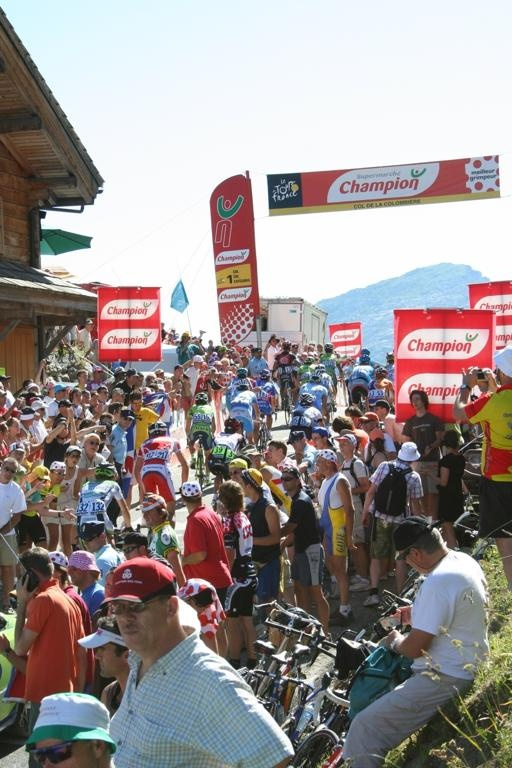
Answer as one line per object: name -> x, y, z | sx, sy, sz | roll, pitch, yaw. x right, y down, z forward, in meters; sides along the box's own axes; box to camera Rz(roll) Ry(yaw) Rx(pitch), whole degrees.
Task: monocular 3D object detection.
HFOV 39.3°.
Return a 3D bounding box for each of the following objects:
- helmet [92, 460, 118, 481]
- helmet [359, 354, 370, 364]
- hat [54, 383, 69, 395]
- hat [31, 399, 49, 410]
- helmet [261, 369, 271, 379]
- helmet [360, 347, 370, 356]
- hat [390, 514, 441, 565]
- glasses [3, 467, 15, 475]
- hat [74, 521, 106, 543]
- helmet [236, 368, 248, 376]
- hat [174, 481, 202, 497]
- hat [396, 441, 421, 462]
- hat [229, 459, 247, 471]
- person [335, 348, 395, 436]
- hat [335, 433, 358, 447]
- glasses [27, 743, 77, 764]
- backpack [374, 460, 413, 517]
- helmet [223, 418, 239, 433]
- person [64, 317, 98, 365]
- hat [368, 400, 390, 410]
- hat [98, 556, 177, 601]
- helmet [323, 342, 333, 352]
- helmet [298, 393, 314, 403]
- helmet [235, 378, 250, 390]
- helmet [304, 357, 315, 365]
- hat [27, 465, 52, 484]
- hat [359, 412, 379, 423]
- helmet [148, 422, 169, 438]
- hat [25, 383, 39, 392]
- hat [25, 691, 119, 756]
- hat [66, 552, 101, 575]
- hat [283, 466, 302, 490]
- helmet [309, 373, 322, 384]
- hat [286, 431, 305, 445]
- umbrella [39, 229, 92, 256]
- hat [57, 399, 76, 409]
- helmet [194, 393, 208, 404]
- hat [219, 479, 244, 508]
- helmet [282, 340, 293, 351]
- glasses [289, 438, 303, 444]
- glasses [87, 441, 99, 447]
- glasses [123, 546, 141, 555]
helmet -> -1.831, 1.078, 8.806 | 0.227, 0.228, 0.253 | 3, -29, -9
helmet -> 2.865, -0.663, 19.007 | 0.267, 0.235, 0.267 | -5, -9, 43
hat -> -3.636, 0.092, 13.392 | 0.240, 0.130, 0.154 | -26, 17, -27
hat -> -3.622, 0.346, 12.060 | 0.231, 0.112, 0.156 | -6, 8, -20
helmet -> 0.240, -0.232, 17.580 | 0.184, 0.216, 0.218 | -2, -23, 0
helmet -> 2.906, -0.883, 19.286 | 0.239, 0.232, 0.272 | 6, 8, 37
hat -> 0.874, 0.852, 3.983 | 0.270, 0.214, 0.197 | 6, 12, 35
glasses -> -2.944, 1.050, 8.570 | 0.135, 0.096, 0.096 | -2, -1, -29
hat -> -1.620, 1.440, 6.972 | 0.278, 0.134, 0.206 | 5, 23, 43
helmet -> -0.317, -0.260, 15.405 | 0.176, 0.206, 0.220 | 9, -11, 12
hat -> -0.601, 0.978, 6.717 | 0.214, 0.097, 0.288 | 0, 21, -5
hat -> 1.811, 0.798, 8.486 | 0.227, 0.135, 0.274 | 3, 13, 4
hat -> -0.184, 0.833, 7.468 | 0.115, 0.126, 0.150 | 9, 30, 36
person -> 2.167, 0.225, 15.600 | 1.153, 1.302, 2.231 | 1, 3, 5
hat -> 1.162, 0.690, 9.116 | 0.238, 0.113, 0.151 | 25, -9, -6
glasses -> -0.737, 1.309, 2.540 | 0.174, 0.064, 0.063 | -3, -1, 17
backpack -> 1.620, 1.228, 8.497 | 0.463, 0.609, 0.393 | 11, 8, -9
helmet -> -0.376, 0.656, 11.209 | 0.220, 0.198, 0.374 | -3, -1, -3
person -> -5.366, -1.289, 21.927 | 0.651, 2.141, 0.779 | 7, 28, -2
hat -> 2.060, 0.337, 11.889 | 0.479, 0.180, 0.272 | 2, -2, -8
hat -> -0.367, 0.700, 2.453 | 0.155, 0.110, 0.211 | 4, 11, 32
helmet -> 2.045, -1.046, 20.242 | 0.235, 0.245, 0.276 | 0, -6, -3
helmet -> 0.857, 0.255, 12.352 | 0.191, 0.168, 0.142 | -28, 25, -16
helmet -> -0.268, -0.006, 14.687 | 0.193, 0.214, 0.255 | 3, -4, 0
helmet -> 1.456, -0.630, 19.623 | 0.246, 0.259, 0.288 | 1, -23, 6
hat -> -2.827, 1.176, 9.391 | 0.268, 0.140, 0.175 | -13, -12, 32
hat -> 1.609, 0.465, 10.125 | 0.152, 0.108, 0.218 | -4, -18, 39
helmet -> -1.321, 0.671, 10.500 | 0.312, 0.205, 0.436 | 0, -3, 11
hat -> -4.084, 0.045, 13.112 | 0.156, 0.183, 0.191 | 3, -2, 19
hat -> -0.661, 1.259, 2.700 | 0.350, 0.165, 0.291 | 20, -32, -27
hat -> -1.362, 1.429, 5.732 | 0.214, 0.098, 0.161 | 4, -3, -23
hat -> 0.374, 0.989, 7.469 | 0.191, 0.218, 0.235 | -7, -12, 14
helmet -> 1.325, -0.119, 15.872 | 0.184, 0.168, 0.223 | -1, 3, 5
hat -> 0.549, 0.756, 10.119 | 0.243, 0.116, 0.164 | -1, 19, 34
umbrella -> -5.487, -4.111, 20.518 | 1.269, 0.572, 3.238 | -3, -1, -16
hat -> -2.965, 0.332, 11.165 | 0.263, 0.122, 0.175 | -8, 3, 6
helmet -> -1.013, 0.251, 13.343 | 0.174, 0.204, 0.215 | -6, 16, 0
hat -> -0.219, 1.034, 6.800 | 0.214, 0.255, 0.254 | -7, 43, 1
helmet -> 0.892, -1.168, 21.606 | 0.271, 0.247, 0.271 | -3, -10, 39
glasses -> 0.554, 0.793, 10.068 | 0.122, 0.077, 0.190 | 0, -8, -29
glasses -> -2.273, 0.841, 10.168 | 0.098, 0.062, 0.109 | -3, -1, -8
glasses -> -0.980, 1.335, 5.707 | 0.082, 0.023, 0.081 | 5, -32, 26
